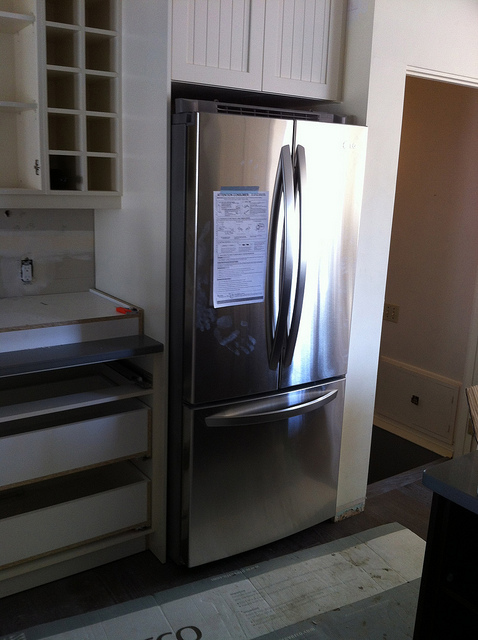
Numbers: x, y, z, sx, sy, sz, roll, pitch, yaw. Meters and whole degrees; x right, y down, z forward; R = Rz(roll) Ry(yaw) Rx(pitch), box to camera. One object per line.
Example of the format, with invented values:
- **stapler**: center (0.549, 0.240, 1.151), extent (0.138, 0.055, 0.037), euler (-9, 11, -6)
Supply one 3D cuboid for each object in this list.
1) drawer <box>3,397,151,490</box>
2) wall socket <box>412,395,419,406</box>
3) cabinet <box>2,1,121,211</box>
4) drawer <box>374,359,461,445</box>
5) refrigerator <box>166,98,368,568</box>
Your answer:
- **drawer**: center (-0.554, 0.412, 1.688), extent (0.463, 0.199, 0.250), euler (-7, 10, -34)
- **wall socket**: center (1.122, 0.508, 3.232), extent (0.005, 0.064, 0.056), euler (-4, 10, -29)
- **cabinet**: center (-0.647, -0.768, 1.832), extent (0.436, 0.762, 0.436), euler (0, 5, -17)
- **drawer**: center (1.183, 0.561, 3.356), extent (0.593, 0.430, 0.342), euler (14, -8, 43)
- **refrigerator**: center (0.095, 0.077, 1.874), extent (0.805, 1.659, 0.362), euler (-2, 6, -34)
